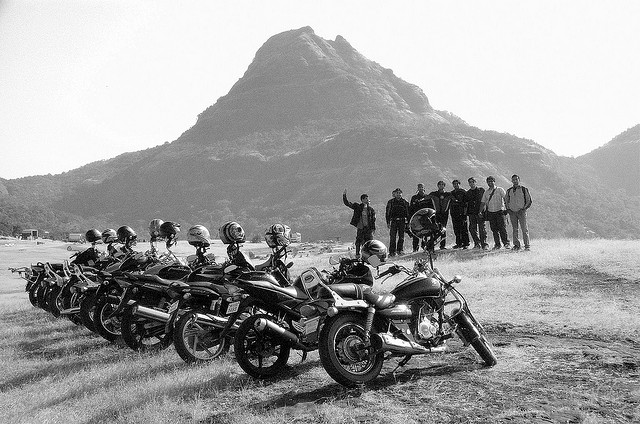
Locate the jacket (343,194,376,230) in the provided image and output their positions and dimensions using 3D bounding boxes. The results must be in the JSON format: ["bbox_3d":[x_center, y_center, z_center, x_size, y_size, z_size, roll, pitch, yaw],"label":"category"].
[{"bbox_3d":[1.830,0.074,20.802,1.246,1.525,1.419,-4,-4,2],"label":"jacket"}]

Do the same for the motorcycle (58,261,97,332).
[{"bbox_3d":[-6.081,2.144,11.541,0.517,1.714,1.717,-4,23,-39],"label":"motorcycle"}]

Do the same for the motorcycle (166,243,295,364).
[{"bbox_3d":[-1.348,1.890,9.104,2.886,2.044,1.586,-4,-1,-35],"label":"motorcycle"}]

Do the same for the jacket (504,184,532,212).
[{"bbox_3d":[8.142,-0.545,18.815,1.133,1.116,0.611,-1,-2,44],"label":"jacket"}]

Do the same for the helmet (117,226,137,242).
[{"bbox_3d":[-5.080,0.546,11.992,0.454,0.383,0.326,-9,14,-38],"label":"helmet"}]

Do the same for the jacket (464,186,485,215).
[{"bbox_3d":[6.797,-0.459,20.050,1.163,1.464,0.532,1,-8,35],"label":"jacket"}]

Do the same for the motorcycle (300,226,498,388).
[{"bbox_3d":[1.203,1.563,7.819,2.962,1.634,1.376,-2,-4,-34],"label":"motorcycle"}]

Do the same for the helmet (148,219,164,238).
[{"bbox_3d":[-4.066,0.386,11.337,0.446,0.478,0.455,4,1,2],"label":"helmet"}]

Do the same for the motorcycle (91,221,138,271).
[{"bbox_3d":[-5.463,0.982,12.056,0.972,0.815,1.510,10,27,43],"label":"motorcycle"}]

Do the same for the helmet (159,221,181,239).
[{"bbox_3d":[-3.513,0.444,10.667,0.422,0.389,0.495,-3,-4,-19],"label":"helmet"}]

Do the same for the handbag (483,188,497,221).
[{"bbox_3d":[7.240,-0.297,19.579,0.385,1.075,0.855,-4,-3,-4],"label":"handbag"}]

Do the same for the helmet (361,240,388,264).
[{"bbox_3d":[0.983,0.703,8.019,0.430,0.353,0.329,5,1,-9],"label":"helmet"}]

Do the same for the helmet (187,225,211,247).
[{"bbox_3d":[-2.643,0.533,10.254,0.392,0.462,0.549,1,6,42],"label":"helmet"}]

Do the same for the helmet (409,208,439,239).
[{"bbox_3d":[1.857,0.194,8.268,0.455,0.507,0.402,39,11,-6],"label":"helmet"}]

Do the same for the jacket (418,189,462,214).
[{"bbox_3d":[5.100,-0.415,19.212,1.276,0.740,0.267,2,-11,-5],"label":"jacket"}]

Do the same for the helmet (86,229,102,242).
[{"bbox_3d":[-6.244,0.628,12.661,0.325,0.244,0.330,-14,21,25],"label":"helmet"}]

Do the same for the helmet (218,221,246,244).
[{"bbox_3d":[-1.824,0.430,9.467,0.489,0.476,0.595,-5,-4,4],"label":"helmet"}]

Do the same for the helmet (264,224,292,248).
[{"bbox_3d":[-0.851,0.490,9.244,0.504,0.429,0.392,-4,1,-12],"label":"helmet"}]
